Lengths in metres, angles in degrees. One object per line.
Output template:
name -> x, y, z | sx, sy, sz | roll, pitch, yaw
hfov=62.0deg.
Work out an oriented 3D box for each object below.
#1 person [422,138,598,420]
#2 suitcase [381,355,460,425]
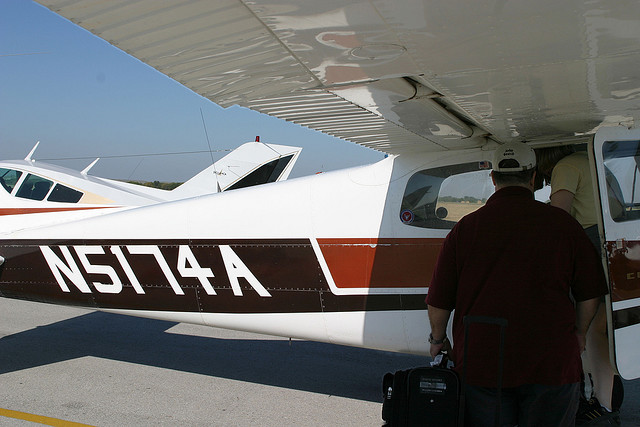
person -> 1.057, 0.360, 2.822 | 0.850, 1.449, 0.547 | -4, 13, -12
suitcase -> 0.563, 0.982, 3.040 | 0.542, 0.359, 0.338 | 0, -7, 12
